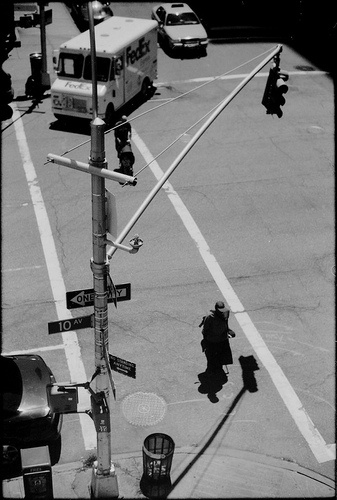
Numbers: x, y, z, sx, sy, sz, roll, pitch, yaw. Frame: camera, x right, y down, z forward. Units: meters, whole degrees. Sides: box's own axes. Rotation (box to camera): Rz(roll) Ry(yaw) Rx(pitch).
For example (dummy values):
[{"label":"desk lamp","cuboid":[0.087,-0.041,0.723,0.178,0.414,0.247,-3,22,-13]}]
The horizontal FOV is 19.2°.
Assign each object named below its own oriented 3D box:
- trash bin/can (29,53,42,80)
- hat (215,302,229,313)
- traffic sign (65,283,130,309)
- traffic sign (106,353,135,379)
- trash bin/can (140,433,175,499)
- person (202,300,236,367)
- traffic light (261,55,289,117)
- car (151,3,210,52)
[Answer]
[{"label":"trash bin/can","cuboid":[-3.991,-5.610,30.054,0.328,0.717,0.483,-3,20,-10]},{"label":"hat","cuboid":[0.962,1.020,18.263,0.250,0.220,0.232,-4,21,-12]},{"label":"traffic sign","cuboid":[-1.089,0.688,15.356,0.954,0.495,0.583,-2,21,-7]},{"label":"traffic sign","cuboid":[-0.715,1.797,15.291,0.398,0.359,0.327,1,20,2]},{"label":"trash bin/can","cuboid":[-0.196,3.635,16.495,0.644,1.125,0.745,0,35,-4]},{"label":"person","cuboid":[0.881,1.582,18.493,0.636,1.440,0.303,2,19,6]},{"label":"traffic light","cuboid":[1.878,-2.960,17.766,0.439,1.300,1.068,2,20,5]},{"label":"car","cuboid":[0.329,-7.992,34.881,1.062,0.934,2.646,-9,45,-8]}]
